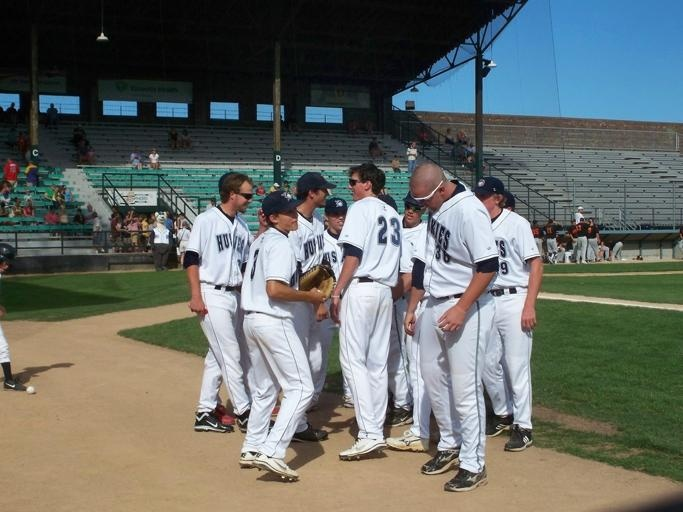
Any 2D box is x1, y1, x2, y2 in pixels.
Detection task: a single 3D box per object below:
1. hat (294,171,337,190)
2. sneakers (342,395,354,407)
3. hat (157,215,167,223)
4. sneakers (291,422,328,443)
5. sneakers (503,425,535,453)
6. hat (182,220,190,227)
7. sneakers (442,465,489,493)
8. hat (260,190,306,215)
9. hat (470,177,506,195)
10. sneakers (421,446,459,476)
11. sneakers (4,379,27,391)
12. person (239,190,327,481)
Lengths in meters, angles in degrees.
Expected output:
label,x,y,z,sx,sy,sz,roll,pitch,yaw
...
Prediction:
label,x,y,z,sx,sy,sz,roll,pitch,yaw
hat,-0.429,-1.156,14.530,0.448,0.174,0.286,1,11,-5
sneakers,0.099,2.472,15.935,0.216,0.216,0.168,-1,-9,8
hat,-5.758,-1.189,30.146,0.281,0.285,0.300,0,7,-4
sneakers,-0.493,2.819,14.943,0.633,0.254,0.227,0,1,-11
sneakers,2.679,2.818,14.477,0.225,0.274,0.585,-9,-14,35
hat,-5.285,-1.062,32.110,0.294,0.196,0.244,4,-19,-8
sneakers,1.751,3.266,13.735,0.663,0.291,0.258,0,-5,-20
hat,-0.929,-0.783,14.051,0.451,0.233,0.331,-18,15,6
hat,2.256,-1.092,14.686,0.399,0.220,0.276,3,6,-13
sneakers,1.463,3.023,14.111,0.686,0.273,0.263,-24,8,-22
sneakers,-5.569,2.225,16.234,0.437,0.187,0.157,5,-4,-6
person,-0.918,1.168,14.021,1.181,4.214,0.973,1,7,2
